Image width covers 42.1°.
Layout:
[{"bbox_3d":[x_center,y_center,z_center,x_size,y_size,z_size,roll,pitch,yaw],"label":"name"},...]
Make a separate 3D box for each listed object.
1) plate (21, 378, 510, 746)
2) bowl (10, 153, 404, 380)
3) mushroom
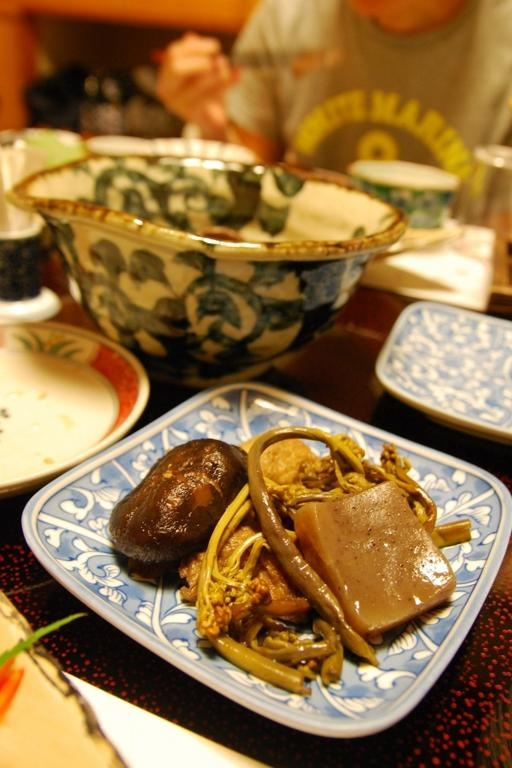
[{"bbox_3d":[-0.023,0.182,0.684,0.387,0.097,0.371,22,35,26],"label":"plate"},{"bbox_3d":[-0.114,-0.182,0.963,0.469,0.216,0.457,6,25,-3],"label":"bowl"},{"bbox_3d":[-0.076,0.116,0.782,0.166,0.066,0.223,-7,22,11],"label":"mushroom"}]
